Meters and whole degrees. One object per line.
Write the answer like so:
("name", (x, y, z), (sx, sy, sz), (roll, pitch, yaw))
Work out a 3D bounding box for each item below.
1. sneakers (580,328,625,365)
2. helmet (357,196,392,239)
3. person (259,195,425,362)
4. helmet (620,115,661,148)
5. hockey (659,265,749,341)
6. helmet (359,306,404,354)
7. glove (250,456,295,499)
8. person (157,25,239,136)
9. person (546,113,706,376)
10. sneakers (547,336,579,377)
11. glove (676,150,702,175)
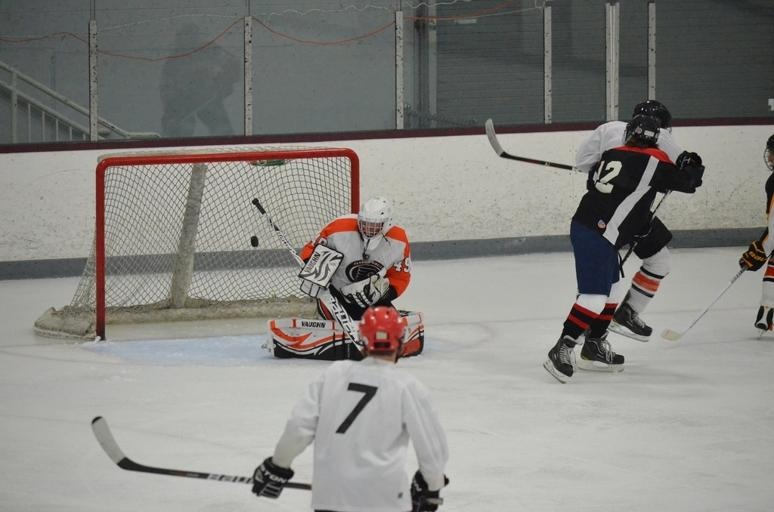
("sneakers", (1.630, 0.728, 8.588), (0.404, 0.259, 0.124), (7, 3, -12))
("helmet", (-0.085, -0.292, 8.644), (0.254, 0.290, 0.310), (7, 20, 17))
("person", (-0.338, 0.177, 8.849), (1.311, 1.163, 0.744), (-3, 13, -21))
("helmet", (1.858, -0.925, 8.289), (0.220, 0.242, 0.246), (4, 29, -10))
("hockey", (2.635, 0.347, 9.162), (1.182, 0.141, 0.154), (-33, 49, -31))
("helmet", (-0.028, 0.402, 6.514), (0.261, 0.260, 0.297), (-2, 9, 5))
("glove", (-0.666, 1.310, 6.549), (0.237, 0.210, 0.171), (12, -3, -9))
("person", (-1.922, -1.728, 11.604), (0.838, 0.917, 0.269), (-3, 19, -8))
("person", (1.675, -0.058, 8.309), (1.198, 1.912, 0.618), (-14, 23, -35))
("sneakers", (1.280, 0.759, 8.293), (0.230, 0.346, 0.263), (2, 18, 8))
("glove", (2.257, -0.699, 8.334), (0.164, 0.174, 0.139), (-5, 3, -39))
